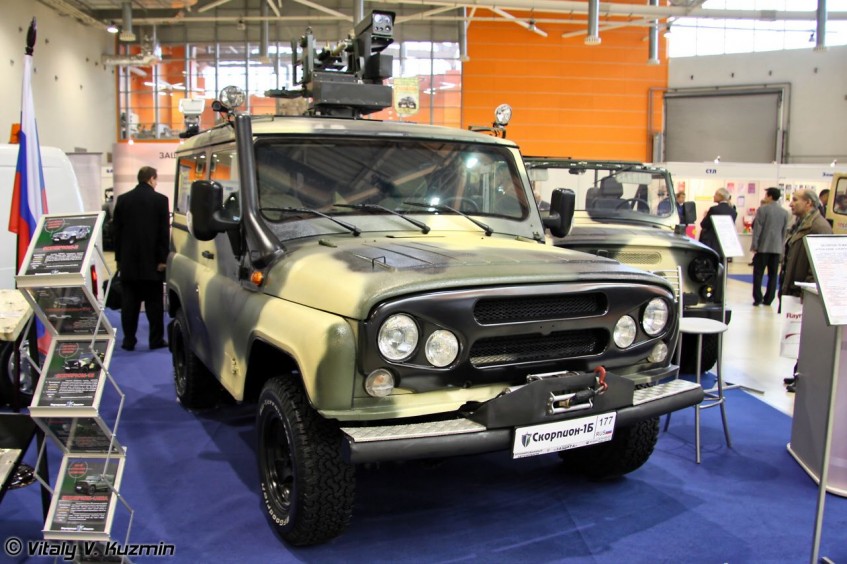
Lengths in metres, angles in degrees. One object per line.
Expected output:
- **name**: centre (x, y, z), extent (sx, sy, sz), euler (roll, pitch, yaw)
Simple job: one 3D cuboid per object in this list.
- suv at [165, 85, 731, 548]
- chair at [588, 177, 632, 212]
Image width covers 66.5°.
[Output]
- **suv**: centre (-0.611, 0.088, 6.063), extent (2.682, 2.372, 4.507), euler (0, 1, -26)
- **chair**: centre (2.473, -1.164, 8.783), extent (0.469, 0.512, 0.478), euler (1, 11, -3)
